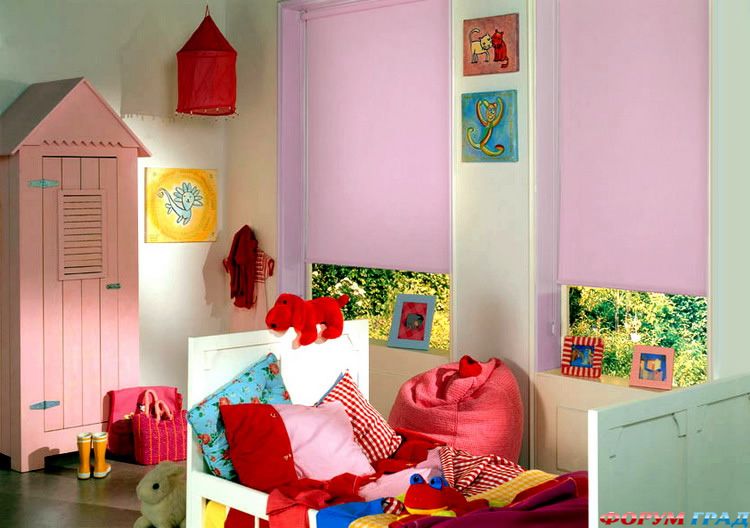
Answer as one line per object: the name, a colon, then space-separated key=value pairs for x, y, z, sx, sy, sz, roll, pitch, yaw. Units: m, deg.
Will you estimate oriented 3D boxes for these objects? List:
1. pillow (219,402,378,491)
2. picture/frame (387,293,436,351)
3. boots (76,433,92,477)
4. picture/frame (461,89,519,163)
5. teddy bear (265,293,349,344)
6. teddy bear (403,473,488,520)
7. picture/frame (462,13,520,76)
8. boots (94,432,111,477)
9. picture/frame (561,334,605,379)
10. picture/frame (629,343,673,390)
pillow: x=-0.393 y=0.811 z=2.889 sx=0.453 sy=0.453 sz=0.137 roll=2 pitch=-37 yaw=-34
picture/frame: x=0.288 y=0.436 z=4.756 sx=0.367 sy=0.464 sz=0.029 roll=6 pitch=-14 yaw=39
boots: x=-1.910 y=1.249 z=4.204 sx=0.094 sy=0.304 sz=0.127 roll=-2 pitch=1 yaw=-26
picture/frame: x=0.753 y=-0.888 z=4.096 sx=0.455 sy=0.572 sz=0.062 roll=2 pitch=2 yaw=40
teddy bear: x=-0.324 y=0.271 z=3.318 sx=0.191 sy=0.272 sz=0.551 roll=-5 pitch=3 yaw=43
teddy bear: x=0.261 y=0.897 z=2.579 sx=0.180 sy=0.081 sz=0.201 roll=-7 pitch=-10 yaw=38
picture/frame: x=0.756 y=-1.395 z=4.072 sx=0.410 sy=0.414 sz=0.042 roll=3 pitch=5 yaw=41
boots: x=-1.822 y=1.252 z=4.251 sx=0.108 sy=0.303 sz=0.186 roll=-2 pitch=1 yaw=-24
picture/frame: x=1.296 y=0.580 z=3.986 sx=0.229 sy=0.248 sz=0.035 roll=0 pitch=-14 yaw=31
picture/frame: x=1.644 y=0.612 z=3.784 sx=0.272 sy=0.305 sz=0.019 roll=1 pitch=-15 yaw=37
